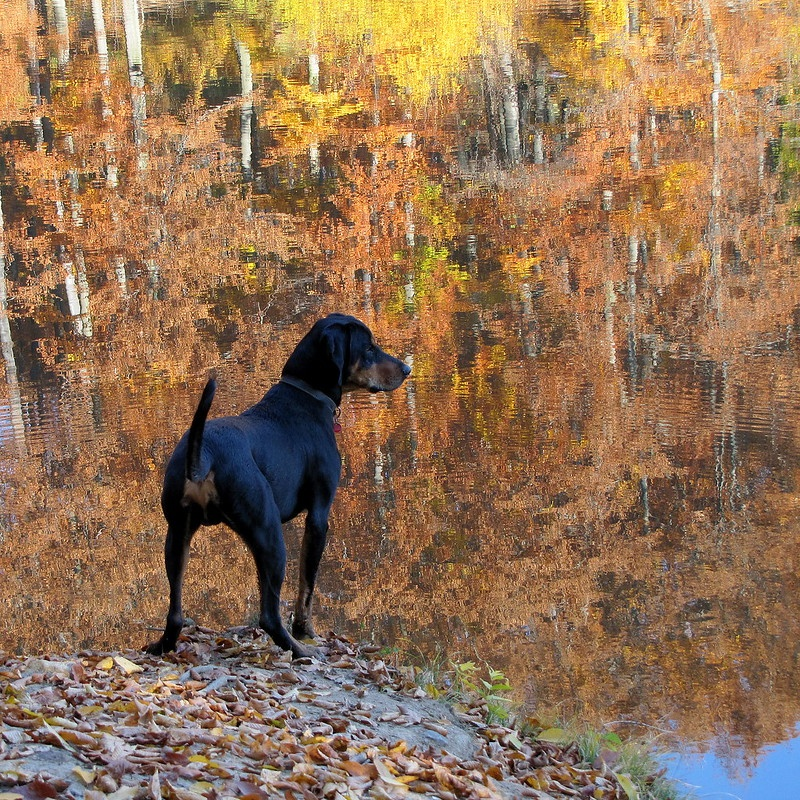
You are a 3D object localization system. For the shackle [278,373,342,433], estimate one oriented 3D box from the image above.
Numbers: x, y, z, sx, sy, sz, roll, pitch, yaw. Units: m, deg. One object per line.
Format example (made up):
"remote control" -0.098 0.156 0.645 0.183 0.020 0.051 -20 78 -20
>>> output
"shackle" -0.682 0.076 10.666 0.445 0.109 0.354 40 44 7
